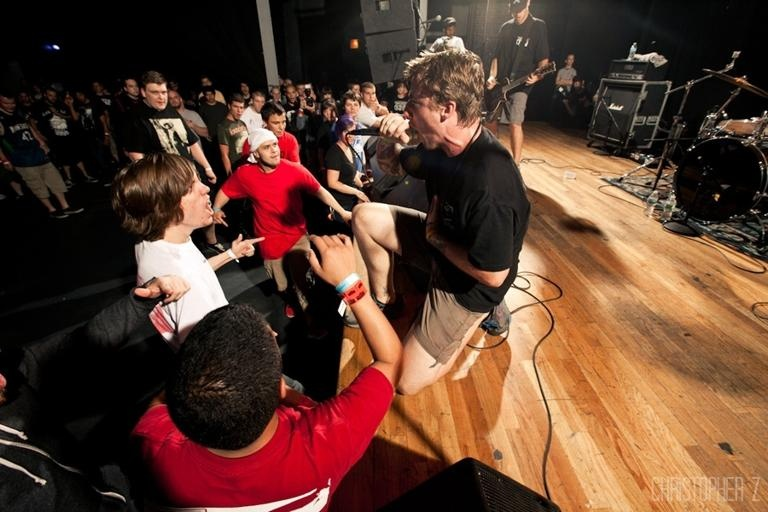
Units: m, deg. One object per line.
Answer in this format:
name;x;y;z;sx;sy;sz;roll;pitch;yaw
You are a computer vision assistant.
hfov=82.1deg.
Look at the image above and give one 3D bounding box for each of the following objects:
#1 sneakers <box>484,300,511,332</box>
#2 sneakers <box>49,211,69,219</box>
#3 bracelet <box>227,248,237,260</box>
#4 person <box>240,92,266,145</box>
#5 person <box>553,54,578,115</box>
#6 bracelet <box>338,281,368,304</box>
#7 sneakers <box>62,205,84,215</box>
sneakers;1.048;0.612;4.277;0.249;0.134;0.318;-60;22;-17
sneakers;-5.076;-0.618;6.764;0.182;0.074;0.059;-12;42;-30
bracelet;-1.377;-0.005;3.953;0.036;0.094;0.080;-39;59;-13
person;-2.188;-2.323;7.300;0.368;0.766;0.511;25;33;16
person;4.796;-4.411;11.456;0.537;1.325;1.069;10;31;14
bracelet;-0.212;0.257;3.060;0.150;0.154;0.160;-28;52;1
sneakers;-4.929;-0.703;6.873;0.063;0.125;0.351;-30;18;5
